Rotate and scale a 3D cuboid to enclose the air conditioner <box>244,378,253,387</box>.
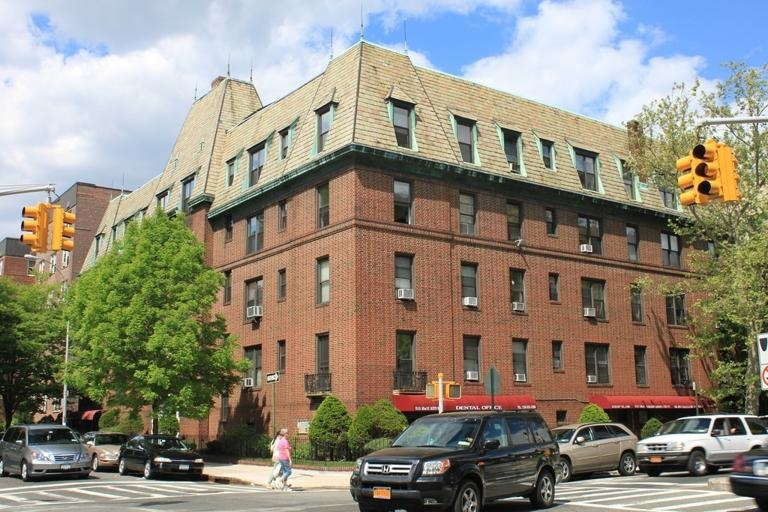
[{"bbox_3d":[-7.974,7.474,52.498,0.573,0.524,0.503,-5,-8,35],"label":"air conditioner"}]

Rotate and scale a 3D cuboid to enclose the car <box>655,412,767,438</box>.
[{"bbox_3d":[14.490,7.420,38.984,3.098,1.011,1.776,0,-11,-4],"label":"car"}]

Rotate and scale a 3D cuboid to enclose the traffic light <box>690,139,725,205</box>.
[{"bbox_3d":[10.161,-2.678,27.914,0.921,2.092,0.596,1,-20,-4],"label":"traffic light"}]

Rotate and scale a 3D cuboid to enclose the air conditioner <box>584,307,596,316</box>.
[{"bbox_3d":[12.435,3.425,53.807,0.853,0.567,0.455,6,-10,-27],"label":"air conditioner"}]

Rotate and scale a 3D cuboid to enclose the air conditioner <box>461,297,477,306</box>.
[{"bbox_3d":[4.784,2.598,49.914,0.853,0.513,0.450,6,-6,-33],"label":"air conditioner"}]

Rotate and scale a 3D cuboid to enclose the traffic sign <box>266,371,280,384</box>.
[{"bbox_3d":[-5.547,6.066,44.284,0.202,0.997,1.672,-4,1,-22],"label":"traffic sign"}]

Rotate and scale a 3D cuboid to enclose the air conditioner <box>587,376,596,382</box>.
[{"bbox_3d":[12.403,7.380,53.253,0.691,0.460,0.362,1,0,7],"label":"air conditioner"}]

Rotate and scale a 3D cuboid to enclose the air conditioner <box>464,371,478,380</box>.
[{"bbox_3d":[4.809,6.671,49.266,0.890,0.506,0.468,7,-14,-33],"label":"air conditioner"}]

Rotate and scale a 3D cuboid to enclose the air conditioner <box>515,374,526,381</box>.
[{"bbox_3d":[7.706,6.950,50.656,0.744,0.422,0.370,2,-1,-13],"label":"air conditioner"}]

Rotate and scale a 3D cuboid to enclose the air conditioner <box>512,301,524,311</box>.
[{"bbox_3d":[7.698,3.002,51.415,0.805,0.492,0.420,6,-5,-32],"label":"air conditioner"}]

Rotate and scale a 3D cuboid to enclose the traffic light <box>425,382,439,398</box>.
[{"bbox_3d":[2.112,5.868,39.203,0.501,0.734,0.733,0,-20,-2],"label":"traffic light"}]
